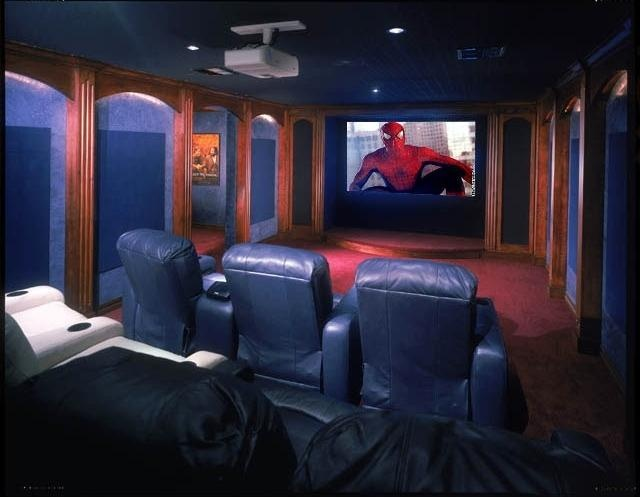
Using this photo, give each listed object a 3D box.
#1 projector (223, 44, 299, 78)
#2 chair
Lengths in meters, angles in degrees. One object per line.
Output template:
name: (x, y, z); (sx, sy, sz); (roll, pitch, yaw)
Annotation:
projector: (-0.454, -1.481, 3.576); (0.375, 0.177, 0.550); (10, 14, 24)
chair: (-0.004, 0.441, 2.027); (1.362, 1.006, 1.990); (7, 4, 5)
